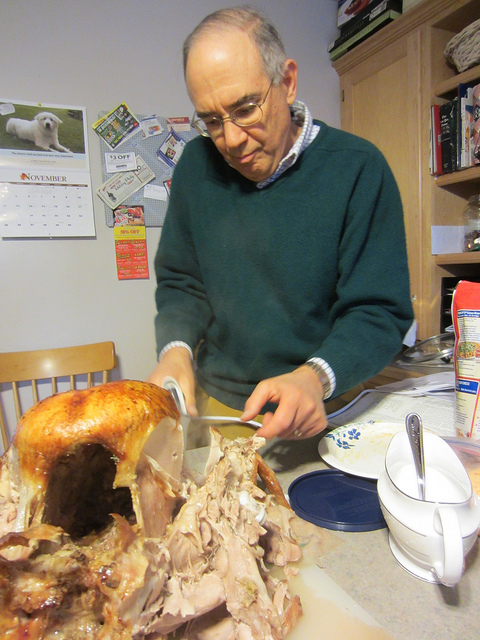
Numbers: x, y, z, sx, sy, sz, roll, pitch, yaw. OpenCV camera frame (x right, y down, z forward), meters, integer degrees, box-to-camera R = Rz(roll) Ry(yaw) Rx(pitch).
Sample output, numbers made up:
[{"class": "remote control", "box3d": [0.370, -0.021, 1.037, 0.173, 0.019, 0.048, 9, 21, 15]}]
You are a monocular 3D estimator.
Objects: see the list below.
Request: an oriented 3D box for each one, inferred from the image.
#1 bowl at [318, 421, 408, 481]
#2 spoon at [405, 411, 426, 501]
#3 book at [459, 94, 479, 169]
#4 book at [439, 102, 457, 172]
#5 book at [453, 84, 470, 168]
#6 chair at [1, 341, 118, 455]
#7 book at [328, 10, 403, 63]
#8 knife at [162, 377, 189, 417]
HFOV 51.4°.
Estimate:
[{"class": "bowl", "box3d": [0.215, 0.226, 0.893, 0.143, 0.029, 0.135, -6, 19, 2]}, {"class": "spoon", "box3d": [0.229, 0.172, 0.664, 0.020, 0.015, 0.154, 4, 51, 8]}, {"class": "book", "box3d": [0.855, -0.700, 1.853, 0.047, 0.254, 0.100, -4, 8, -4]}, {"class": "book", "box3d": [0.804, -0.708, 1.942, 0.059, 0.206, 0.163, 3, 7, 33]}, {"class": "book", "box3d": [0.834, -0.735, 1.887, 0.033, 0.295, 0.246, 6, 23, 26]}, {"class": "chair", "box3d": [-0.708, 0.290, 1.905, 0.411, 0.444, 0.587, -6, 8, -21]}, {"class": "book", "box3d": [0.568, -1.314, 2.230, 0.068, 0.035, 0.393, 24, -18, -22]}, {"class": "knife", "box3d": [-0.107, 0.127, 0.833, 0.012, 0.054, 0.055, -24, -32, -9]}]
